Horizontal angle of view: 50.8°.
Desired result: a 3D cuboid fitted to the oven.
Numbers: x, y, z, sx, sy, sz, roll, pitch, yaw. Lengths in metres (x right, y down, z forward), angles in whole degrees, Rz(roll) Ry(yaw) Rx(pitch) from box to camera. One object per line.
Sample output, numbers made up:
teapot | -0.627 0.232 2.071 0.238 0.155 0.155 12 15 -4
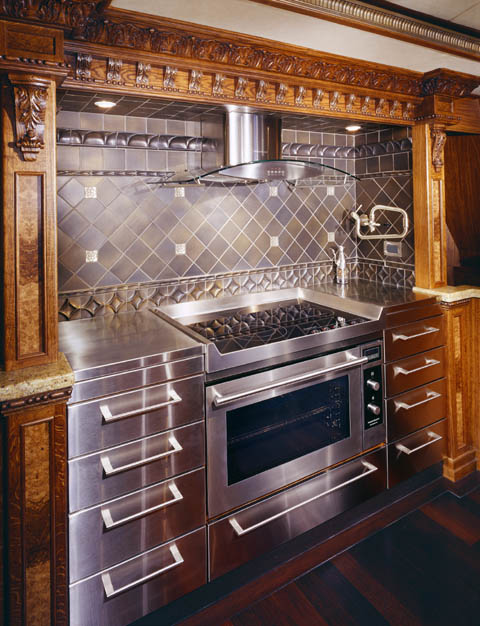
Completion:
oven | 0.175 0.417 2.227 0.938 0.553 0.510 -11 13 -30

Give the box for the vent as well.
vent | 0.056 -0.735 2.291 0.817 0.335 0.682 -7 8 -9

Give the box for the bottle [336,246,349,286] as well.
bottle | 0.616 -0.302 3.074 0.077 0.225 0.290 0 13 13
